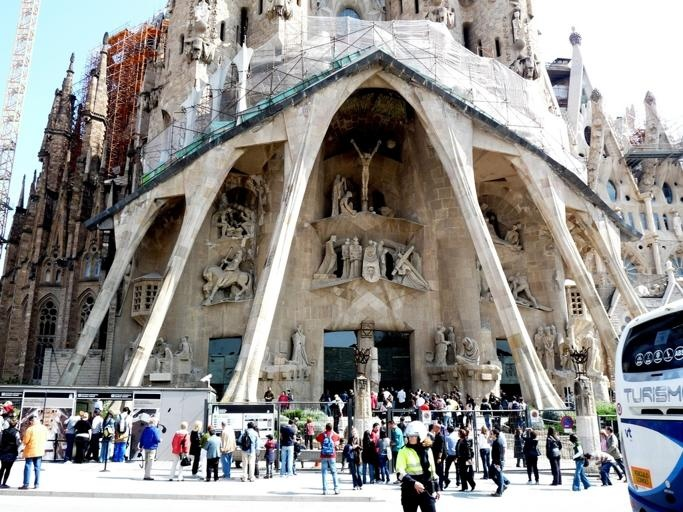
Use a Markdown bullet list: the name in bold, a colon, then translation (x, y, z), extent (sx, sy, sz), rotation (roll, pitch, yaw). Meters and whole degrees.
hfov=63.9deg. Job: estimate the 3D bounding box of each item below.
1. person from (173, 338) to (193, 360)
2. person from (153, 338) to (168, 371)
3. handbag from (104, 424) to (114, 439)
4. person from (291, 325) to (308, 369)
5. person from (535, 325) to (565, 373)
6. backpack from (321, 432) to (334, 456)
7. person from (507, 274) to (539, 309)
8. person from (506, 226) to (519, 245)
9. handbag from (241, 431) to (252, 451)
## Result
- **person**: translation (-7.385, 4.304, 25.603), extent (0.793, 1.162, 0.494), rotation (7, -24, -16)
- **person**: translation (-8.236, 4.534, 24.978), extent (0.770, 1.620, 0.343), rotation (-2, -23, 5)
- **handbag**: translation (-6.415, 4.852, 15.019), extent (0.280, 0.310, 0.358), rotation (6, -16, -33)
- **person**: translation (-2.000, 4.316, 25.919), extent (0.763, 2.079, 0.641), rotation (4, -23, -10)
- **person**: translation (10.553, 4.629, 27.868), extent (1.457, 2.276, 0.525), rotation (0, -23, -1)
- **backpack**: translation (-0.314, 4.294, 12.337), extent (0.253, 0.410, 0.409), rotation (0, -23, 1)
- **person**: translation (9.230, 1.864, 28.008), extent (1.054, 0.394, 1.635), rotation (-3, 22, 4)
- **person**: translation (9.322, -1.113, 29.988), extent (0.676, 1.409, 0.466), rotation (9, -43, 18)
- **handbag**: translation (-2.349, 4.558, 13.383), extent (0.241, 0.425, 0.429), rotation (3, -4, 2)
